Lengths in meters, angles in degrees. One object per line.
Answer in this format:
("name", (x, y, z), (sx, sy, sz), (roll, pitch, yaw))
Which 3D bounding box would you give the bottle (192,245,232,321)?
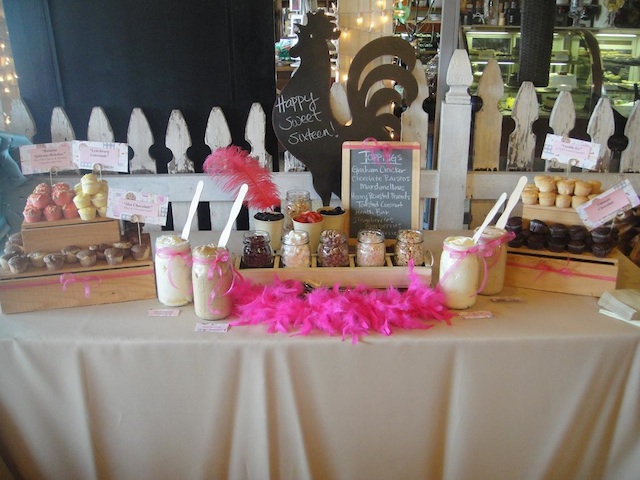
("bottle", (-0.402, 0.163, 1.883), (0.161, 0.251, 0.147), (2, 12, 0))

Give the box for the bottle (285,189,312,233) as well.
("bottle", (-0.093, -0.120, 2.270), (0.153, 0.217, 0.159), (0, 13, 0))

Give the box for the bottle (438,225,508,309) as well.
("bottle", (0.620, 0.098, 1.980), (0.328, 0.344, 0.199), (-5, 15, -17))

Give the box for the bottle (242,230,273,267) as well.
("bottle", (-0.226, 0.056, 2.051), (0.096, 0.128, 0.125), (5, 20, 10))

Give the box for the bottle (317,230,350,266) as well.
("bottle", (0.055, 0.042, 2.041), (0.142, 0.133, 0.122), (-6, 14, -12))

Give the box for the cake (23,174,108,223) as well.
("cake", (-0.970, -0.160, 1.957), (0.276, 0.091, 0.194), (-3, 7, -15))

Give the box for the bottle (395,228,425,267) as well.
("bottle", (0.364, 0.043, 2.051), (0.110, 0.155, 0.109), (0, 20, 0))

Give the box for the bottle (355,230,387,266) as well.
("bottle", (0.208, 0.038, 2.052), (0.128, 0.139, 0.130), (10, 22, 36))

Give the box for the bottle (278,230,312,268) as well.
("bottle", (-0.097, 0.040, 2.040), (0.127, 0.139, 0.135), (4, 20, 15))

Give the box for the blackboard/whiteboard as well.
("blackboard/whiteboard", (0.262, -0.191, 2.307), (0.367, 0.485, 0.220), (-1, 8, -8))
